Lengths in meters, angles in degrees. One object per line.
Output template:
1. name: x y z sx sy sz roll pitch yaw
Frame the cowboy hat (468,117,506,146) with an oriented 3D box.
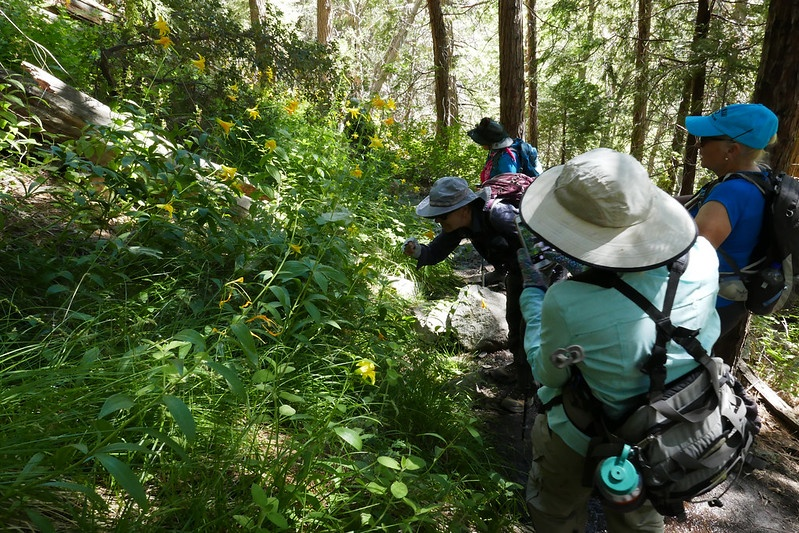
1. cowboy hat: 0.892 -1.380 5.550 0.309 0.119 0.324 -35 68 -22

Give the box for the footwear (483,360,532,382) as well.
1. footwear: 0.924 0.887 4.738 0.288 0.079 0.269 -5 6 -33

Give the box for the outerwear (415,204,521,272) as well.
1. outerwear: 0.626 -0.239 4.096 0.804 0.308 0.539 2 1 44

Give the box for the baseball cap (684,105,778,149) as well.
1. baseball cap: 2.112 -0.890 3.411 0.478 0.198 0.303 17 49 22

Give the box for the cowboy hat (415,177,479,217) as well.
1. cowboy hat: 0.366 -0.466 4.068 0.392 0.147 0.334 -23 31 4

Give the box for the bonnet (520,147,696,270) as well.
1. bonnet: 0.983 -0.259 2.540 0.671 0.217 0.658 -32 53 -11

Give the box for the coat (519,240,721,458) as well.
1. coat: 1.090 0.408 2.560 0.715 0.877 0.627 -32 36 21
